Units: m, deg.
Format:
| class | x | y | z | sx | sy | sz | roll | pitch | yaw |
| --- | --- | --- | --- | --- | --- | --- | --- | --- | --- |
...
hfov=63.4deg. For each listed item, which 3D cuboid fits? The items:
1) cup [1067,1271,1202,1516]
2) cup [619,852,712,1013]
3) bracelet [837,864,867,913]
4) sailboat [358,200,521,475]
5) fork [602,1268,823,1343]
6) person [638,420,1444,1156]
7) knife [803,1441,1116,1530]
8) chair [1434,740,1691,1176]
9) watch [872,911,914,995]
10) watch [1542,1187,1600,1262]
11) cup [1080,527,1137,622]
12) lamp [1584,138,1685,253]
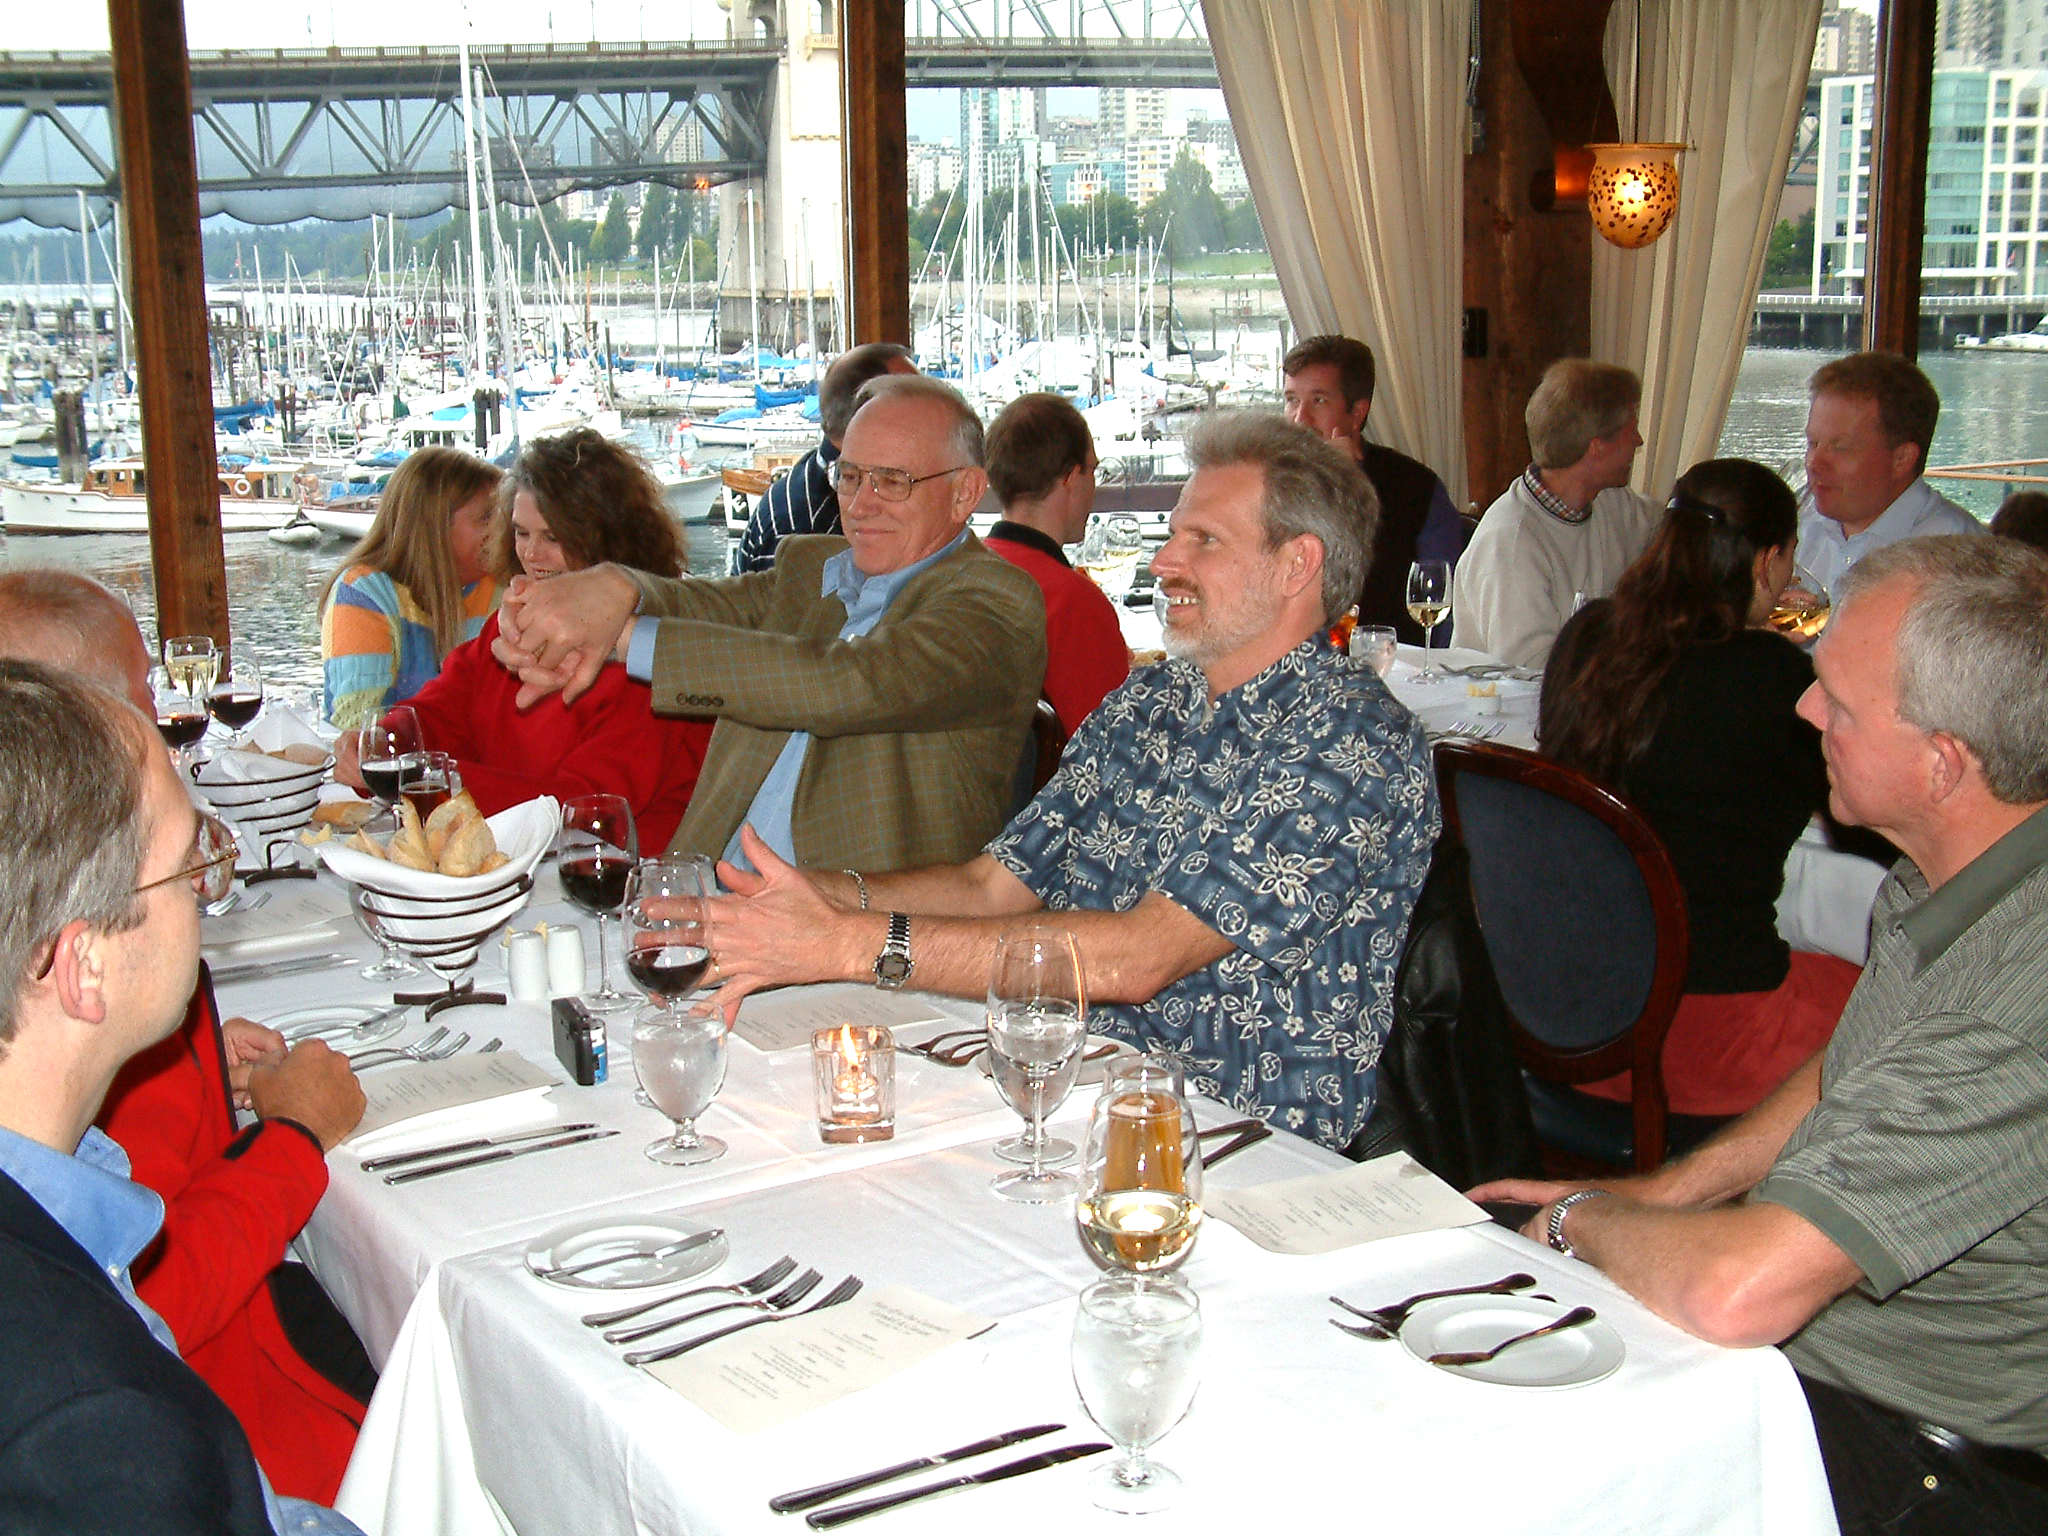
| class | x | y | z | sx | sy | sz | roll | pitch | yaw |
| --- | --- | --- | --- | --- | --- | --- | --- | --- | --- |
| cup | 0.085 | 0.480 | 1.297 | 0.110 | 0.222 | 0.134 | 1 | 2 | 1 |
| cup | -0.421 | 0.219 | 1.947 | 0.089 | 0.237 | 0.095 | -1 | 4 | 0 |
| bracelet | -0.253 | 0.177 | 2.437 | 0.016 | 0.050 | 0.042 | -17 | -27 | 20 |
| sailboat | -1.716 | -1.255 | 4.910 | 0.263 | 0.671 | 0.986 | -3 | 17 | -12 |
| fork | -0.278 | 0.480 | 1.507 | 0.214 | 0.033 | 0.066 | -6 | 17 | -37 |
| person | -0.099 | -0.073 | 2.574 | 1.041 | 1.301 | 0.803 | -1 | 9 | -18 |
| knife | -0.049 | 0.549 | 1.271 | 0.155 | 0.014 | 0.022 | -8 | 20 | -24 |
| chair | 0.849 | 0.280 | 2.603 | 0.393 | 0.726 | 0.347 | -25 | 33 | -37 |
| watch | -0.170 | 0.242 | 2.172 | 0.048 | 0.094 | 0.080 | 9 | 15 | -7 |
| watch | 0.545 | 0.455 | 1.654 | 0.051 | 0.060 | 0.034 | 28 | -6 | -7 |
| cup | 0.240 | -0.562 | 4.848 | 0.181 | 0.240 | 0.217 | 1 | 14 | 1 |
| lamp | 2.208 | -2.097 | 6.011 | 0.339 | 0.423 | 0.356 | -20 | 31 | -18 |
